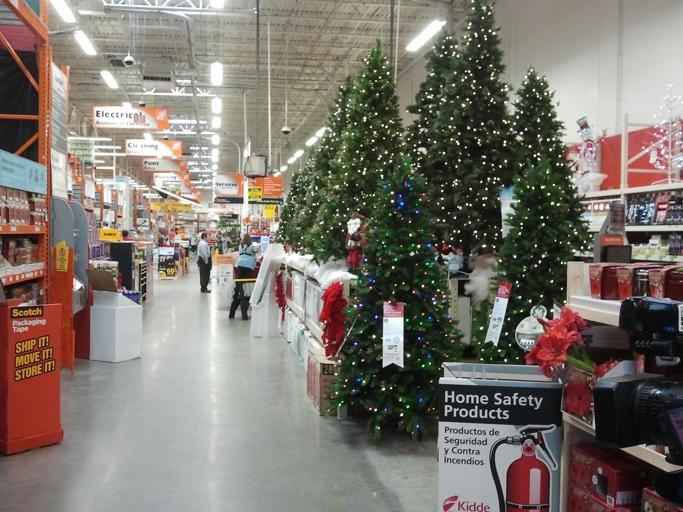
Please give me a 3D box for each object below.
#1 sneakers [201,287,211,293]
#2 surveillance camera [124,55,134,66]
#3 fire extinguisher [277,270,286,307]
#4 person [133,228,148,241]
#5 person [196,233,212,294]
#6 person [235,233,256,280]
[{"bbox_3d":[-3.796,0.948,16.076,0.245,0.182,0.097,-1,3,-16],"label":"sneakers"},{"bbox_3d":[-4.543,-4.190,12.270,0.169,0.192,0.245,2,3,-25],"label":"surveillance camera"},{"bbox_3d":[-0.988,0.556,9.312,0.156,0.647,0.309,1,2,-7],"label":"fire extinguisher"},{"bbox_3d":[-5.884,-0.600,16.640,0.294,0.339,1.671,0,4,-20],"label":"person"},{"bbox_3d":[-3.951,0.167,16.430,0.347,1.652,1.440,0,3,-14],"label":"person"},{"bbox_3d":[-1.859,-0.001,11.105,0.383,0.854,0.454,0,2,-12],"label":"person"}]
